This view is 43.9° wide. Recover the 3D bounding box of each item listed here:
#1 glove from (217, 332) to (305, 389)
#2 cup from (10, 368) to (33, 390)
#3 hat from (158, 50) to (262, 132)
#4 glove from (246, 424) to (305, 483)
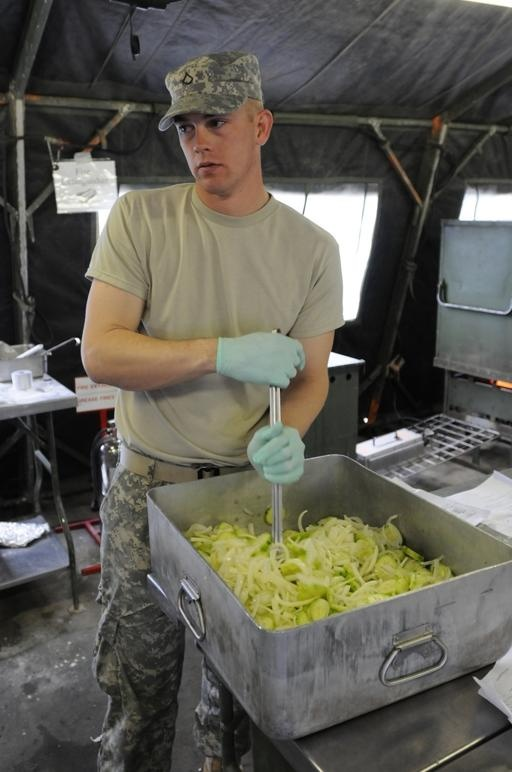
[{"bbox_3d":[0.000,-0.057,1.331,0.180,0.113,0.238,4,6,8],"label":"glove"},{"bbox_3d":[-1.172,-0.032,3.198,0.094,0.092,0.097,3,16,-1],"label":"cup"},{"bbox_3d":[-0.092,-0.640,1.439,0.169,0.116,0.224,-5,16,38],"label":"hat"},{"bbox_3d":[0.043,0.139,1.290,0.066,0.075,0.104,-29,25,-3],"label":"glove"}]
